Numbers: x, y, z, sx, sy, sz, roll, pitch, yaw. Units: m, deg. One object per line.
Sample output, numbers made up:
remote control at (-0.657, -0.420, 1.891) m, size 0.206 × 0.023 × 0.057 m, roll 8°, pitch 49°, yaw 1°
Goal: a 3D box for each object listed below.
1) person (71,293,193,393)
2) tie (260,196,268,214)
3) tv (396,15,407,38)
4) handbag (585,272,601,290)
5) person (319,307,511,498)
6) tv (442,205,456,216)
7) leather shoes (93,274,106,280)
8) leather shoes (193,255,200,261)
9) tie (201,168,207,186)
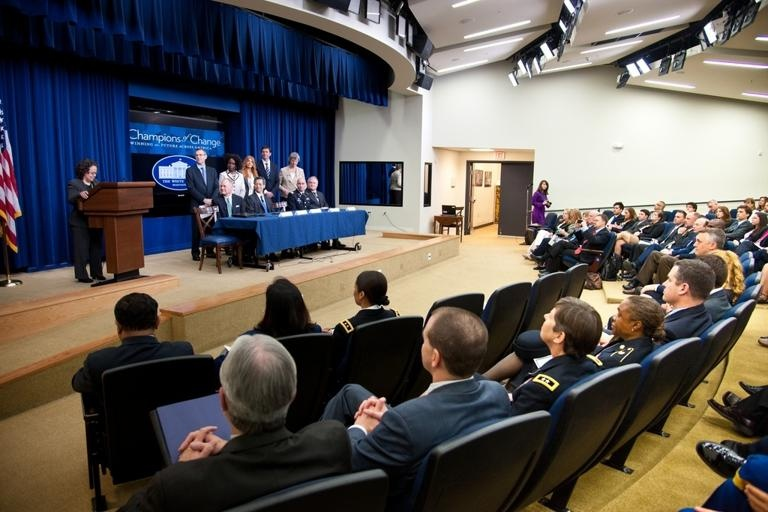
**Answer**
person at (-1.738, 0.615, 3.451) m, size 0.862 × 0.705 × 0.524 m, roll -4°, pitch 13°, yaw -38°
tie at (-2.065, -0.867, 8.451) m, size 0.067 × 0.270 × 0.182 m, roll -15°, pitch 6°, yaw -18°
tv at (0.317, -4.332, 9.269) m, size 0.052 × 0.413 × 0.409 m, roll 1°, pitch 4°, yaw 20°
handbag at (3.241, 0.405, 7.564) m, size 0.265 × 0.296 × 0.157 m, roll 3°, pitch 12°, yaw 17°
person at (0.144, 0.826, 2.763) m, size 0.479 × 1.050 × 0.702 m, roll -10°, pitch 37°, yaw -33°
tv at (1.734, -1.197, 13.012) m, size 0.341 × 0.237 × 0.378 m, roll 1°, pitch 10°, yaw 5°
leather shoes at (-3.736, 0.291, 6.357) m, size 0.168 × 0.079 × 0.058 m, roll -3°, pitch 10°, yaw -18°
leather shoes at (-3.217, 0.050, 8.340) m, size 0.190 × 0.085 × 0.066 m, roll -5°, pitch 0°, yaw 43°
tie at (-3.029, -1.326, 8.201) m, size 0.061 × 0.260 × 0.096 m, roll 4°, pitch 11°, yaw 20°
